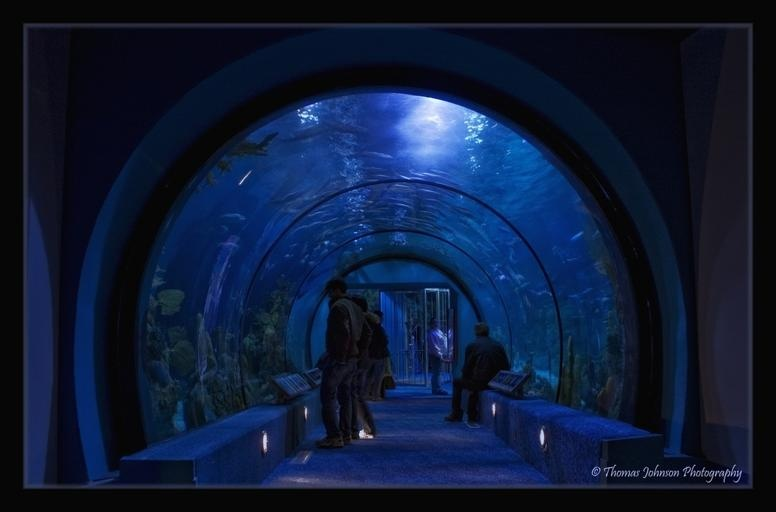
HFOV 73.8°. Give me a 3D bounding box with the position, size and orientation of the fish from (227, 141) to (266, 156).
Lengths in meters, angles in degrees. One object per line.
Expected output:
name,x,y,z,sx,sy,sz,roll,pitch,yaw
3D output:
fish,-2.369,-1.784,8.664,0.135,0.308,0.831,4,9,35

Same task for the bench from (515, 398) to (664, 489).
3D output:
bench,2.601,2.675,7.040,0.790,0.935,3.055,-2,-10,-2

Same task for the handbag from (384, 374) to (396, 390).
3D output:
handbag,0.080,5.513,22.832,0.842,0.350,1.469,0,-32,1

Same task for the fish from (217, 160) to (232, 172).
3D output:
fish,-2.711,-1.510,8.612,0.198,0.179,0.061,30,-20,-36
